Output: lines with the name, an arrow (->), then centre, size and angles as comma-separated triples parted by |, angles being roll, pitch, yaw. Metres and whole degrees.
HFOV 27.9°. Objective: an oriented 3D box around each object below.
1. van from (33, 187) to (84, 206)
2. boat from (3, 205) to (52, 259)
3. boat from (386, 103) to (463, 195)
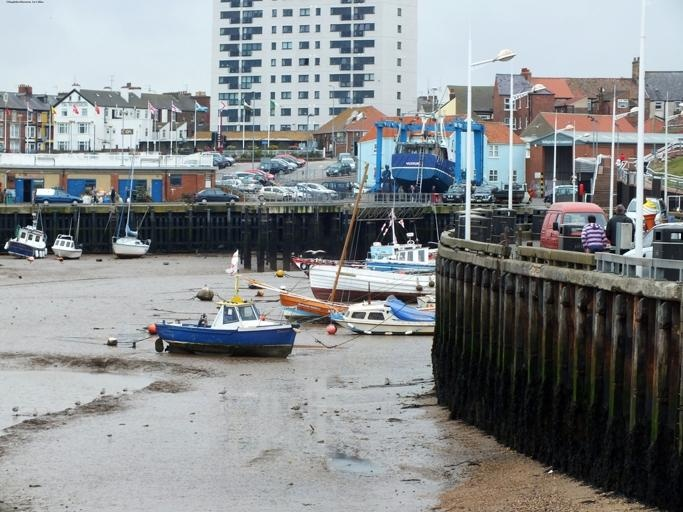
van -> -18.606, -3.598, 90.436 | 3.589, 1.202, 1.630 | -2, 4, -2
boat -> -18.211, -0.855, 80.891 | 2.290, 3.065, 2.373 | -2, 7, 21
boat -> 5.262, -6.414, 85.849 | 4.390, 5.333, 9.178 | 2, 13, 5
